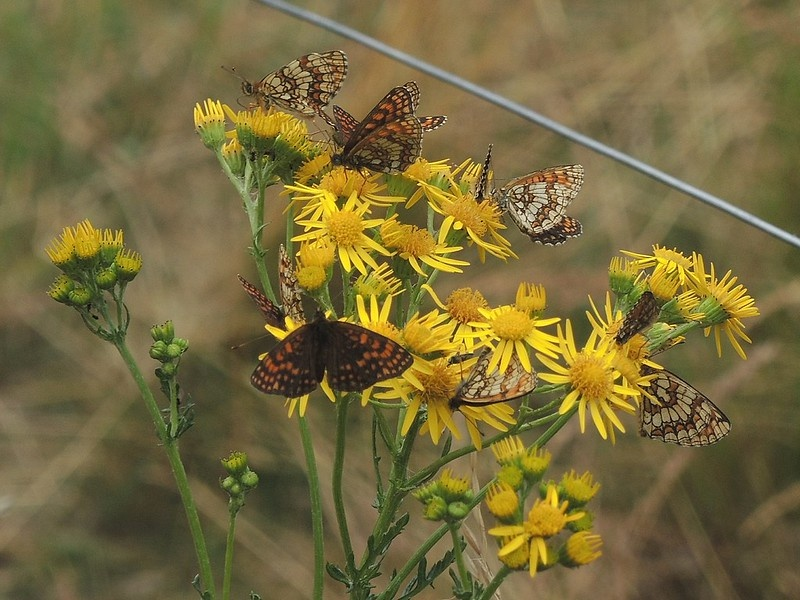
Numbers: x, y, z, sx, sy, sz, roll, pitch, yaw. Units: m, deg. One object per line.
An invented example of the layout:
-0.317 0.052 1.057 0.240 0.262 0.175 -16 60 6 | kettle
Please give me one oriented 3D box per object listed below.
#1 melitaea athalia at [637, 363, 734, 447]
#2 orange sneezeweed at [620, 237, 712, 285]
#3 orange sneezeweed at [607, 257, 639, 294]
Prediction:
0.673 0.271 3.210 0.208 0.094 0.169 36 37 25 | melitaea athalia
0.654 -0.090 3.260 0.131 0.055 0.141 28 1 -22 | orange sneezeweed
0.550 -0.056 3.325 0.074 0.089 0.069 4 -6 43 | orange sneezeweed
